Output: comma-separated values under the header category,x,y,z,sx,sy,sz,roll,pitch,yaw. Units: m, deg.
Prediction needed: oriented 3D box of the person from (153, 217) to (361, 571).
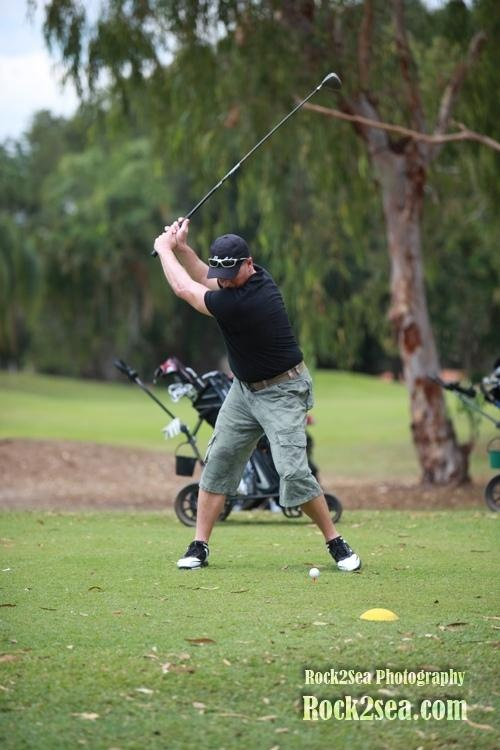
category,x,y,z,sx,sy,sz,roll,pitch,yaw
person,-0.005,0.144,4.889,0.835,1.602,0.420,-6,6,-6

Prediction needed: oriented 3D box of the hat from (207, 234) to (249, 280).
category,x,y,z,sx,sy,sz,roll,pitch,yaw
hat,-0.100,-0.544,4.750,0.157,0.132,0.231,6,39,20

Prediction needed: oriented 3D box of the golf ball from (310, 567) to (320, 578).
category,x,y,z,sx,sy,sz,roll,pitch,yaw
golf ball,0.284,0.892,4.643,0.045,0.043,0.048,0,-10,0

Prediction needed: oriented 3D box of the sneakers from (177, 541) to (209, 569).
category,x,y,z,sx,sy,sz,roll,pitch,yaw
sneakers,-0.277,0.867,4.924,0.077,0.084,0.202,6,2,8

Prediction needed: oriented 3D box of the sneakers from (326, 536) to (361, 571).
category,x,y,z,sx,sy,sz,roll,pitch,yaw
sneakers,0.440,0.844,4.865,0.149,0.166,0.164,-5,5,-1
